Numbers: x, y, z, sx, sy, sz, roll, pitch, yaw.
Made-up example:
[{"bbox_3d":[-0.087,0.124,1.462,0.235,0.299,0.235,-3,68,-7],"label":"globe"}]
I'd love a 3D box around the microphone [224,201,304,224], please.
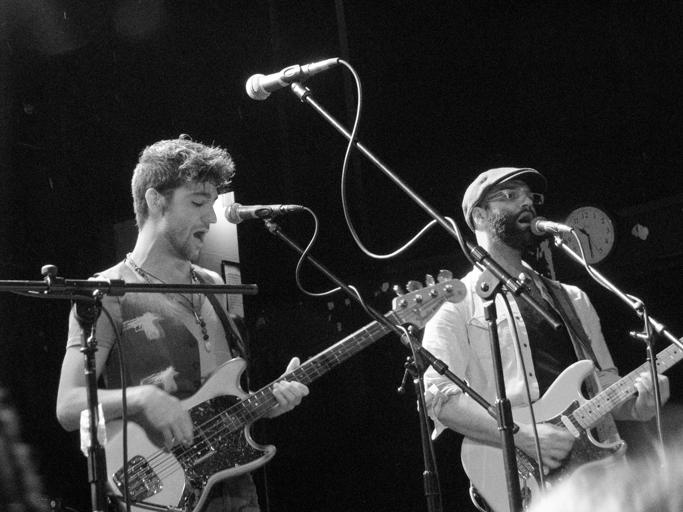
[{"bbox_3d":[-0.482,-0.261,3.923,0.480,0.157,0.148,-7,3,23],"label":"microphone"}]

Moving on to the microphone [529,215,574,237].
[{"bbox_3d":[1.045,-0.162,3.277,0.100,0.119,0.338,-2,6,-25],"label":"microphone"}]

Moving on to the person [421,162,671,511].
[{"bbox_3d":[0.980,0.450,3.582,0.930,2.289,0.310,-9,-10,-11],"label":"person"}]
